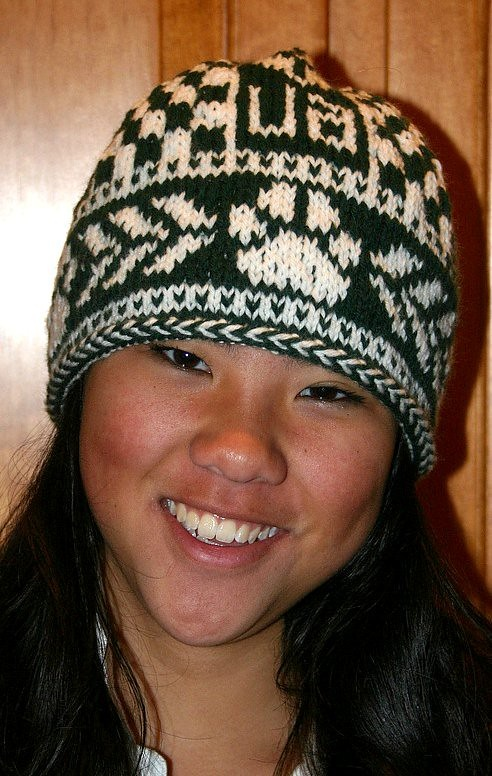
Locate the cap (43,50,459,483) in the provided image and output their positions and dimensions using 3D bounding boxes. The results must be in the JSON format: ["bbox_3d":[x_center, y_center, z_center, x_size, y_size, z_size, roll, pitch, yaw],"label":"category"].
[{"bbox_3d":[0.003,-0.195,1.384,0.441,0.492,0.485,20,-17,-20],"label":"cap"}]
